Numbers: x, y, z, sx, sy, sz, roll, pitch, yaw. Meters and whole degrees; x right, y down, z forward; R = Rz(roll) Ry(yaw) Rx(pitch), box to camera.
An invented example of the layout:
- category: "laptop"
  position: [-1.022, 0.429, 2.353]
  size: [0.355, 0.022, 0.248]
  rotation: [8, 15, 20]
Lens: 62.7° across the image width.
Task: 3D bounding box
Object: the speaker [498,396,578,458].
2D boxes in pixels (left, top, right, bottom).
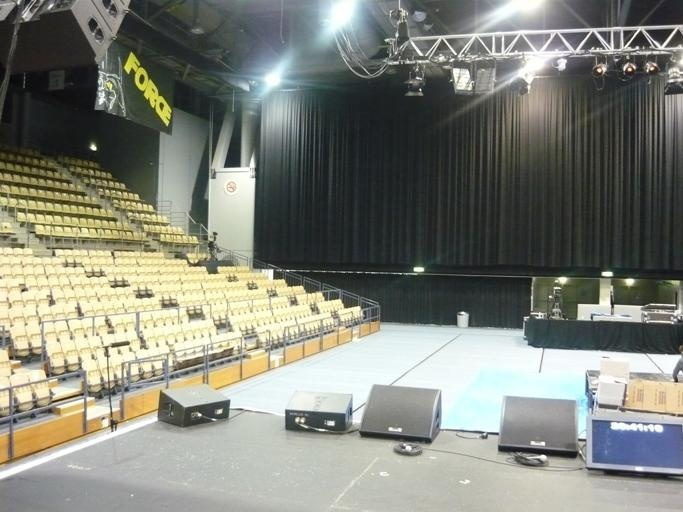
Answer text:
- category: "speaker"
  position: [2.797, 2.213, 7.960]
  size: [1.055, 0.935, 0.782]
  rotation: [0, -36, 16]

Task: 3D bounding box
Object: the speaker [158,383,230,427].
- category: "speaker"
  position: [-2.290, 2.297, 8.663]
  size: [1.064, 0.433, 0.636]
  rotation: [-6, 14, -24]
